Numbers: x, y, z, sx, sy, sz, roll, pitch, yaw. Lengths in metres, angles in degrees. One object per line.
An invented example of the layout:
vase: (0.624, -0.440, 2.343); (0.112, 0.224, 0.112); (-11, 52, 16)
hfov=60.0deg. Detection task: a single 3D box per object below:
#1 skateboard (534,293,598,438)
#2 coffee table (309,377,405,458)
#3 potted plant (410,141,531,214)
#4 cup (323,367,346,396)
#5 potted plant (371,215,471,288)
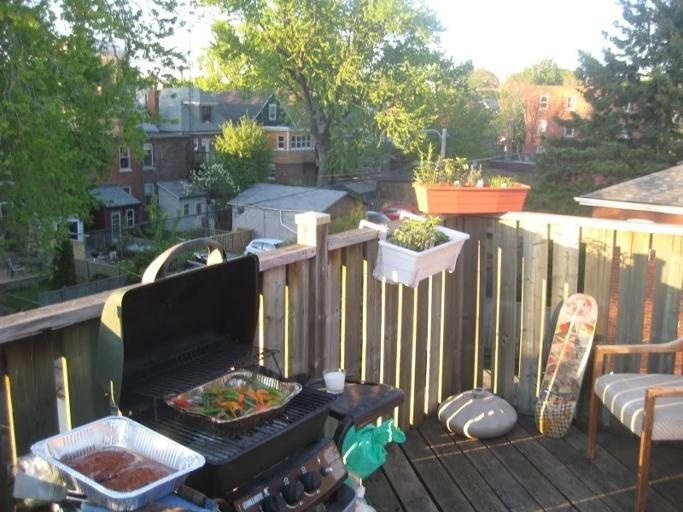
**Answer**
skateboard: (1.378, 0.521, 3.697); (0.215, 0.106, 0.954); (-11, 20, 38)
coffee table: (0.044, 0.663, 2.565); (0.396, 0.144, 0.277); (-8, 13, -39)
potted plant: (0.815, -0.454, 3.923); (0.797, 0.387, 0.488); (-3, 10, -20)
cup: (-0.039, 0.563, 2.658); (0.075, 0.078, 0.089); (-3, -1, -24)
potted plant: (0.457, -0.004, 3.271); (0.539, 0.284, 0.295); (-7, 12, -35)
